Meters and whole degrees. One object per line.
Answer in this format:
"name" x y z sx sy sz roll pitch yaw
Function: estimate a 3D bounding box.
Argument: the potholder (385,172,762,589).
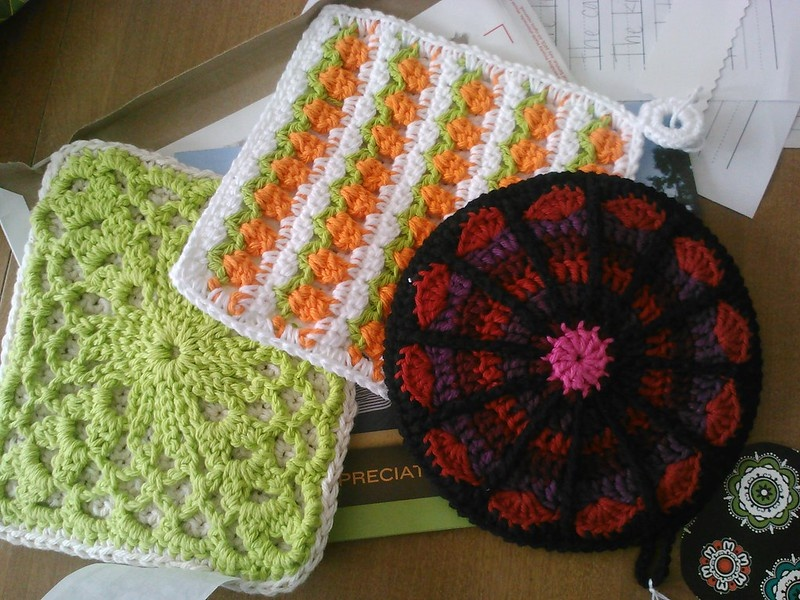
"potholder" 0.322 0.112 1.586 0.682 0.204 0.686 -11 77 8
